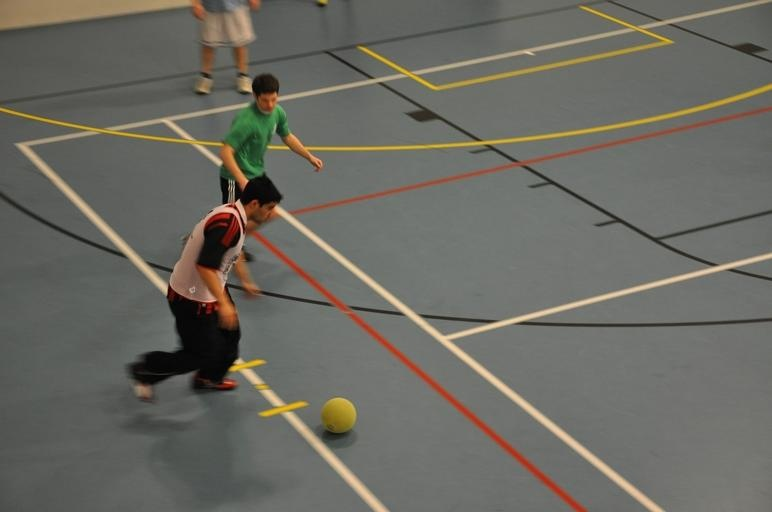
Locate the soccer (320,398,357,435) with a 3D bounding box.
[{"bbox_3d":[-0.452,1.488,7.950,0.361,0.349,0.350,0,6,-16],"label":"soccer"}]

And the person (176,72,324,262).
[{"bbox_3d":[-1.339,-0.930,9.578,1.144,2.179,0.887,-14,41,-32],"label":"person"}]

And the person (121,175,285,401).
[{"bbox_3d":[-1.843,0.418,8.602,1.387,2.278,1.043,3,46,-21],"label":"person"}]

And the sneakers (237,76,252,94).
[{"bbox_3d":[-2.150,-2.571,12.861,0.224,0.155,0.361,-11,31,-13],"label":"sneakers"}]
